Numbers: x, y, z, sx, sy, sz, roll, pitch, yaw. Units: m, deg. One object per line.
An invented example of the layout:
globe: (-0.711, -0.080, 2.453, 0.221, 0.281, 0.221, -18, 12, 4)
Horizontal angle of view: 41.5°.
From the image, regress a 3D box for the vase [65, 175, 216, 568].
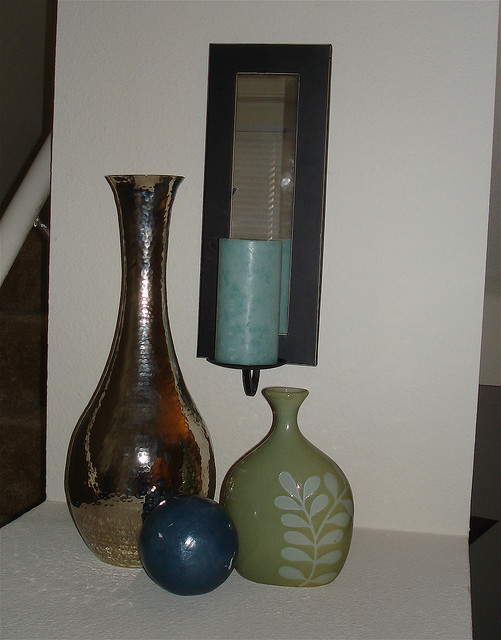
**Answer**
vase: (-0.120, 0.055, 0.707, 0.144, 0.417, 0.115, 2, 5, 15)

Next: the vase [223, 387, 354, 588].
vase: (0.035, 0.175, 0.706, 0.135, 0.209, 0.106, 10, 17, 43)
